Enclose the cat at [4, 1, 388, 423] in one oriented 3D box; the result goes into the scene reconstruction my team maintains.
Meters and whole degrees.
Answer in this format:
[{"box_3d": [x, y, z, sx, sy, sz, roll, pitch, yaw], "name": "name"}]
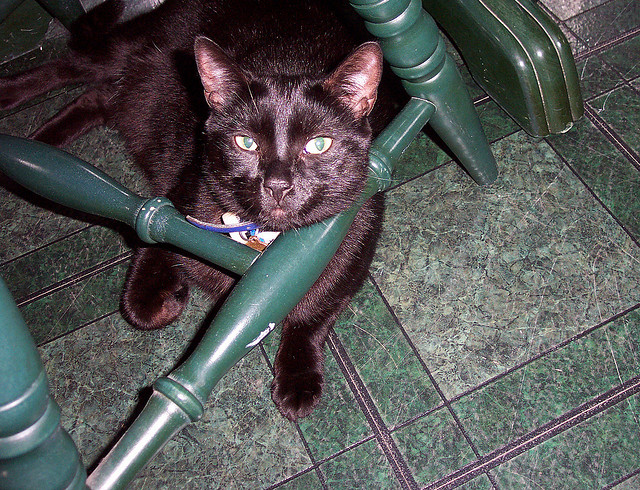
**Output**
[{"box_3d": [-0.410, -0.179, 2.182, 1.282, 0.838, 1.504, 11, 65, -19], "name": "cat"}]
